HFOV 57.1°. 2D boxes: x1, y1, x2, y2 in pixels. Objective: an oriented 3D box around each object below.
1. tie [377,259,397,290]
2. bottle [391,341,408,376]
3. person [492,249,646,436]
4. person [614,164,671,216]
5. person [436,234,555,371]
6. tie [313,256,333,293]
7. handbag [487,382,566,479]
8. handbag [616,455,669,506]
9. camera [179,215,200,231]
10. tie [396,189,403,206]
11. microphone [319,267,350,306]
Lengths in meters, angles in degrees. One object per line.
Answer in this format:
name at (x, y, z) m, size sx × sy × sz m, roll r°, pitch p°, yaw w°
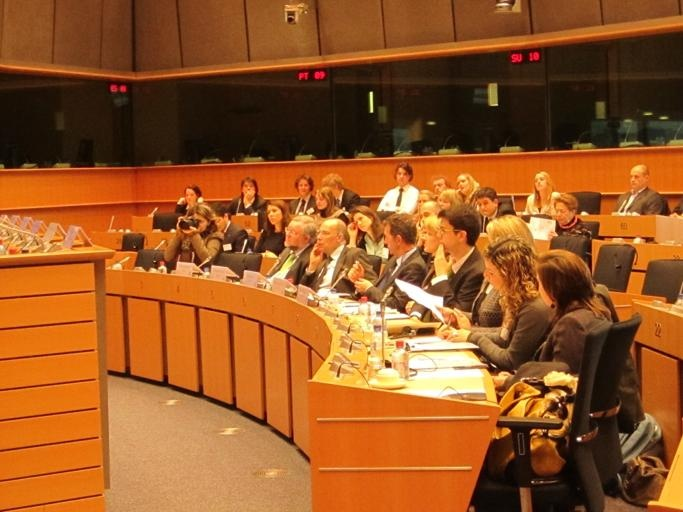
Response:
tie at (0.373, 0.142, 4.930) m, size 0.141 × 0.228 × 0.321 m, roll -5°, pitch 7°, yaw -10°
bottle at (0.271, 0.474, 2.895) m, size 0.070 × 0.136 × 0.248 m, roll -3°, pitch 7°, yaw 8°
person at (1.191, 0.433, 3.152) m, size 0.528 × 0.951 × 0.794 m, roll 2°, pitch 9°, yaw 42°
person at (4.236, -0.930, 8.757) m, size 0.477 × 0.760 × 0.858 m, roll 11°, pitch -7°, yaw -28°
person at (0.883, 0.237, 3.924) m, size 0.665 × 1.242 × 0.586 m, roll 3°, pitch 1°, yaw 7°
tie at (-0.151, 0.165, 5.525) m, size 0.086 × 0.251 × 0.175 m, roll 20°, pitch -11°, yaw -33°
handbag at (0.845, 0.749, 2.781) m, size 0.387 × 0.337 × 0.171 m, roll -3°, pitch -4°, yaw 12°
handbag at (1.722, 1.283, 3.594) m, size 0.255 × 0.226 × 0.318 m, roll -1°, pitch 8°, yaw 26°
camera at (-1.696, -0.374, 6.991) m, size 0.151 × 0.166 × 0.160 m, roll 0°, pitch -4°, yaw -10°
tie at (0.924, -0.954, 9.982) m, size 0.076 × 0.325 × 0.014 m, roll 3°, pitch -27°, yaw 24°
microphone at (-0.041, 0.227, 5.345) m, size 0.291 × 0.308 × 0.191 m, roll 3°, pitch -9°, yaw -3°
